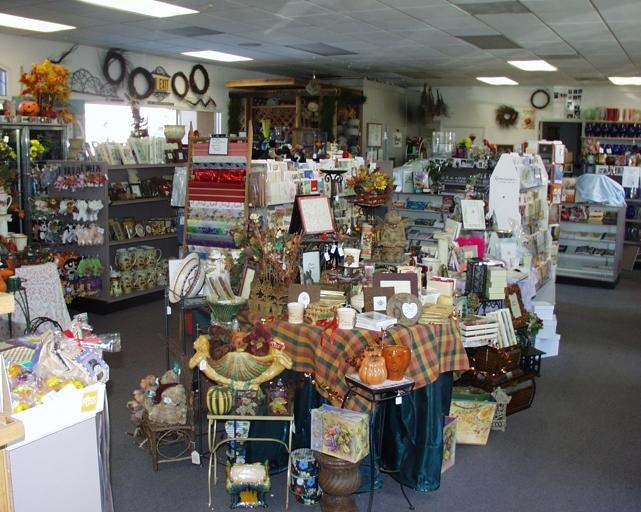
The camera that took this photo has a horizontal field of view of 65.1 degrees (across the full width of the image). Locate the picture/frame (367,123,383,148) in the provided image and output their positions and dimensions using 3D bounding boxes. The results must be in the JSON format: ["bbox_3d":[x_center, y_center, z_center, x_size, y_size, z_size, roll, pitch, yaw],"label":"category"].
[{"bbox_3d":[1.371,-3.154,13.014,0.076,0.537,0.716,-6,1,27],"label":"picture/frame"}]

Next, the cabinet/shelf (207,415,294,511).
[{"bbox_3d":[-0.530,1.257,3.396,0.699,0.733,0.558,0,-7,0],"label":"cabinet/shelf"}]

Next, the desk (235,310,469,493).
[{"bbox_3d":[0.342,0.872,3.896,1.345,1.215,1.355,8,16,37],"label":"desk"}]

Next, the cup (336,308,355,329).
[{"bbox_3d":[0.167,0.403,3.283,0.118,0.101,0.113,2,7,0],"label":"cup"}]

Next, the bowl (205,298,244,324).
[{"bbox_3d":[-0.681,0.368,3.577,0.179,0.121,0.180,0,1,0],"label":"bowl"}]

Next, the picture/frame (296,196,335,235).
[{"bbox_3d":[-0.058,-0.338,4.242,0.283,0.297,0.099,-11,-9,-44],"label":"picture/frame"}]

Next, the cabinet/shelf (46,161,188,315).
[{"bbox_3d":[-2.890,-0.243,6.934,0.746,1.994,2.029,1,8,12],"label":"cabinet/shelf"}]

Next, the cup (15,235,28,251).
[{"bbox_3d":[-3.127,-0.133,5.270,0.140,0.173,0.153,1,2,0],"label":"cup"}]

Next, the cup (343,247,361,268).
[{"bbox_3d":[0.238,0.012,3.822,0.129,0.151,0.136,1,8,0],"label":"cup"}]

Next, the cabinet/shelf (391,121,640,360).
[{"bbox_3d":[3.333,-0.771,8.692,7.096,2.798,3.842,-8,14,-41],"label":"cabinet/shelf"}]

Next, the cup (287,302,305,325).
[{"bbox_3d":[-0.170,0.385,3.390,0.099,0.103,0.129,0,1,6],"label":"cup"}]

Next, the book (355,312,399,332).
[{"bbox_3d":[0.356,0.420,3.257,0.257,0.083,0.174,4,11,16],"label":"book"}]

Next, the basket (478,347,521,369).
[{"bbox_3d":[1.625,0.913,4.520,0.419,0.227,0.171,0,10,-6],"label":"basket"}]

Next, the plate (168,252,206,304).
[{"bbox_3d":[-1.135,0.165,4.206,0.108,0.346,0.347,16,31,-36],"label":"plate"}]

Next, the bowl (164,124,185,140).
[{"bbox_3d":[-2.516,-2.121,8.651,0.286,0.229,0.289,-1,7,0],"label":"bowl"}]

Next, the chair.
[{"bbox_3d":[-1.186,1.109,3.861,0.343,0.694,0.835,-3,4,-22],"label":"chair"}]

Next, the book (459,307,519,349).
[{"bbox_3d":[1.432,0.677,4.297,0.425,0.108,0.425,-11,7,-30],"label":"book"}]

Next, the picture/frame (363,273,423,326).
[{"bbox_3d":[0.495,0.296,3.508,0.365,0.394,0.321,-2,-28,-1],"label":"picture/frame"}]
